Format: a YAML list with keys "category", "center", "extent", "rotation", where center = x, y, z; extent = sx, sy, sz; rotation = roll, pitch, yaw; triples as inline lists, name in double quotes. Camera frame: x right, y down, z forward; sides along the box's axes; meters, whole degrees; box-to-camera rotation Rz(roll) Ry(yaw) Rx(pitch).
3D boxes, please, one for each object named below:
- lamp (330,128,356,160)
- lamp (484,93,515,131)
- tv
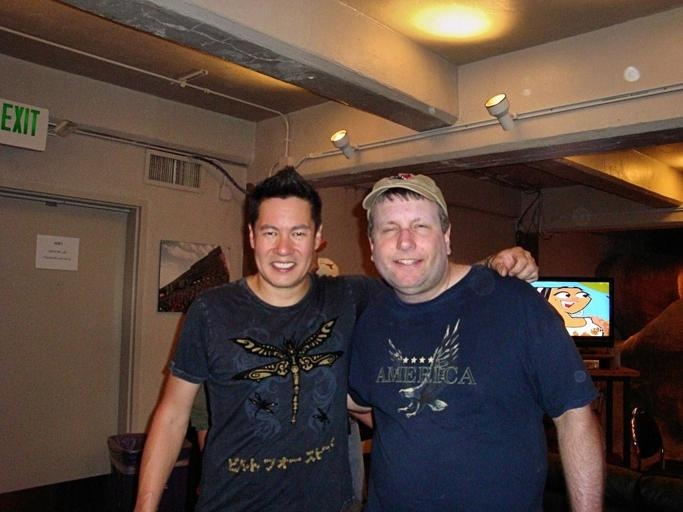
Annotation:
- category: "lamp"
  center: [0.019, -1.058, 5.232]
  extent: [0.218, 0.230, 0.408]
  rotation: [0, 2, 1]
- category: "lamp"
  center: [1.283, -1.106, 4.350]
  extent: [0.153, 0.249, 0.198]
  rotation: [-7, 16, 38]
- category: "tv"
  center: [2.044, 0.479, 4.751]
  extent: [0.951, 0.725, 0.136]
  rotation: [0, -4, 7]
